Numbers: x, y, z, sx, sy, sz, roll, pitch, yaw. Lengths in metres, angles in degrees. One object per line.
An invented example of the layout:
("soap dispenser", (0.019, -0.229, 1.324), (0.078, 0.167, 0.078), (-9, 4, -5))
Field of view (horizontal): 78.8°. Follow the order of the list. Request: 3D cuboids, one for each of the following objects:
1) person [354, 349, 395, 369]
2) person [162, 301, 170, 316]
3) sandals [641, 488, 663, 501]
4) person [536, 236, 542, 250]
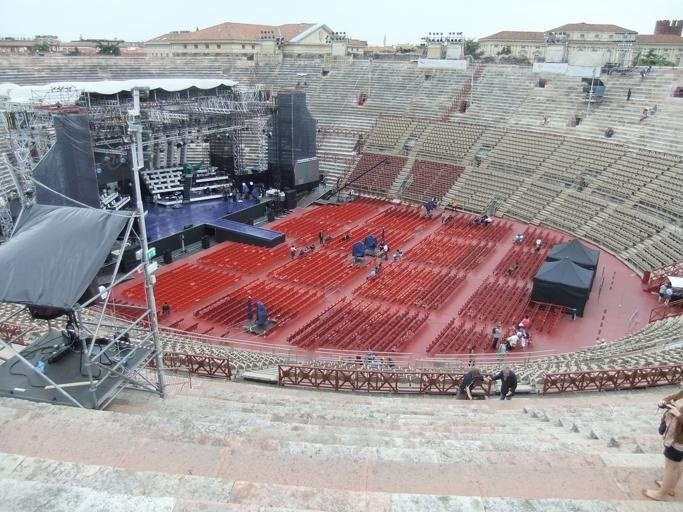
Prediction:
("person", (1.301, 4.562, 17.894), (1.140, 0.180, 1.067), (7, 12, 35))
("person", (-9.646, 2.859, 22.840), (0.401, 0.724, 0.609), (-7, 22, -19))
("sandals", (4.988, 3.855, 6.785), (0.096, 0.201, 0.277), (-40, 8, -32))
("person", (14.164, -0.897, 30.308), (0.389, 1.013, 0.351), (1, -33, 39))
